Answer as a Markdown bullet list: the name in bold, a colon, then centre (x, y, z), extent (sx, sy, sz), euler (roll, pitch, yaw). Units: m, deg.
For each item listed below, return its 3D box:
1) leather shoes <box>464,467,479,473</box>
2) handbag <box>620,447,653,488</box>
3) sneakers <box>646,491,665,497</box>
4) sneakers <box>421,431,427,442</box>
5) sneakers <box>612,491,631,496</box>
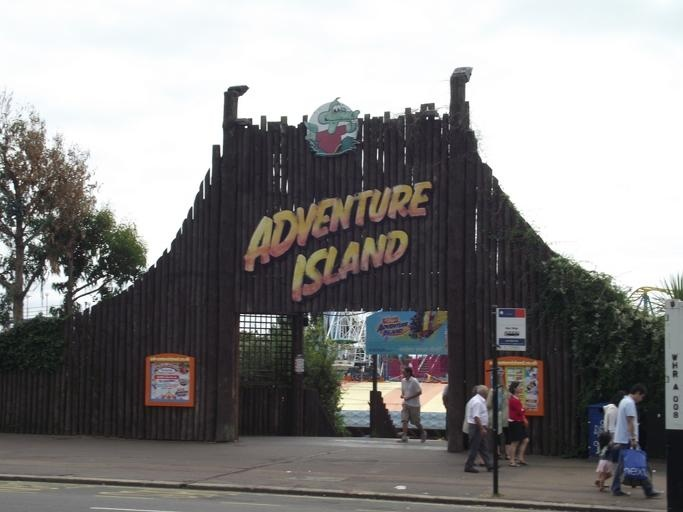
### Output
- **leather shoes**: centre (3.335, 5.486, 36.075), extent (0.420, 0.176, 0.146), euler (-1, 6, 3)
- **handbag**: centre (7.064, 5.096, 33.625), extent (1.047, 1.281, 0.489), euler (-1, 2, 8)
- **sneakers**: centre (7.577, 5.719, 33.743), extent (0.406, 0.184, 0.142), euler (-13, 2, -2)
- **sneakers**: centre (2.462, 5.386, 42.017), extent (0.170, 0.451, 0.147), euler (8, -16, -29)
- **sneakers**: centre (6.749, 5.677, 33.707), extent (0.432, 0.159, 0.146), euler (5, -12, -27)
